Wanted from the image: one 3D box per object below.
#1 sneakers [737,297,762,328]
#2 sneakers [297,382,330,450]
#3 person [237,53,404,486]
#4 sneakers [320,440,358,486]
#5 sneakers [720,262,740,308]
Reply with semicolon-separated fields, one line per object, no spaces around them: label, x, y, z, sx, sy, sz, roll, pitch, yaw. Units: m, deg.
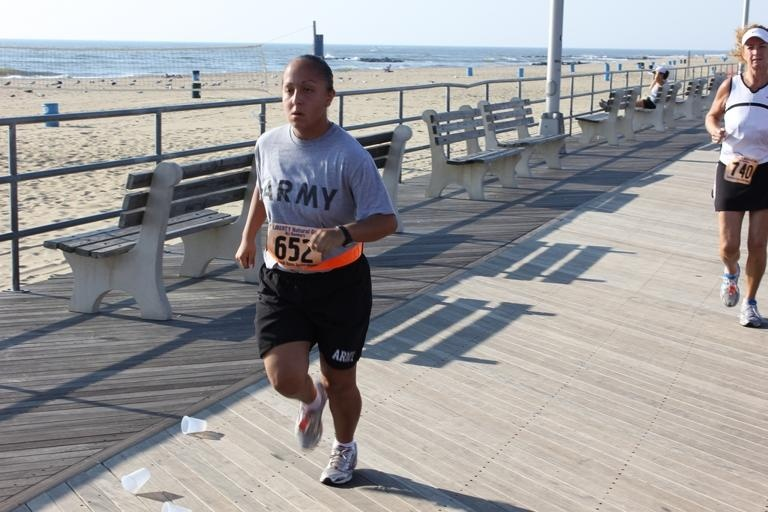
sneakers;2.907;0.469;4.290;0.145;0.109;0.292;0;8;15
sneakers;-0.318;0.730;2.526;0.155;0.293;0.154;7;15;0
person;-0.296;0.105;2.434;0.622;1.909;0.517;-10;20;-17
sneakers;-0.195;0.970;2.585;0.129;0.097;0.263;5;8;17
sneakers;2.857;0.234;4.518;0.169;0.370;0.175;4;-12;20
